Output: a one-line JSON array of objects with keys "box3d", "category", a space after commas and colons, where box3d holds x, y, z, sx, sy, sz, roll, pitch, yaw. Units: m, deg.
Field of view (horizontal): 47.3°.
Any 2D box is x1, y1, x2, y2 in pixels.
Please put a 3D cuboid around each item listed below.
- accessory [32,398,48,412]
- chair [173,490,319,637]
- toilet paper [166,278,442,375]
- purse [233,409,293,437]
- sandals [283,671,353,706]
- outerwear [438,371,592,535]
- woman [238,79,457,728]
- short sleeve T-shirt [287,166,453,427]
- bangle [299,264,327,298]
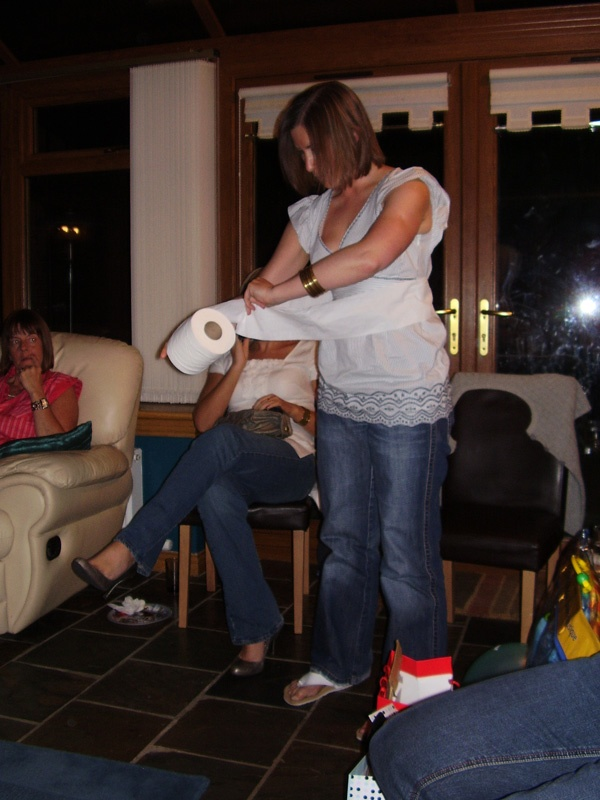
[{"box3d": [-0.906, 0.020, 2.383, 0.056, 0.036, 0.053, -7, -3, -30], "category": "accessory"}, {"box3d": [-0.164, 0.386, 2.432, 0.449, 0.718, 0.490, 2, -2, 6], "category": "chair"}, {"box3d": [0.010, -0.150, 1.575, 0.718, 0.181, 0.218, -3, 39, 25], "category": "toilet paper"}, {"box3d": [-0.126, 0.067, 2.096, 0.129, 0.045, 0.090, 11, -4, 18], "category": "purse"}, {"box3d": [0.052, 0.732, 1.760, 0.179, 0.050, 0.075, -1, 9, -23], "category": "sandals"}, {"box3d": [0.698, 0.187, 2.241, 0.548, 0.516, 0.227, 4, -6, 24], "category": "outerwear"}, {"box3d": [0.100, 0.001, 1.495, 0.446, 1.331, 0.423, 0, -2, -8], "category": "woman"}, {"box3d": [0.171, -0.191, 1.538, 0.211, 0.504, 0.334, 0, -5, -38], "category": "short sleeve T-shirt"}, {"box3d": [0.022, -0.234, 1.349, 0.050, 0.035, 0.060, -1, 31, -4], "category": "bangle"}]
